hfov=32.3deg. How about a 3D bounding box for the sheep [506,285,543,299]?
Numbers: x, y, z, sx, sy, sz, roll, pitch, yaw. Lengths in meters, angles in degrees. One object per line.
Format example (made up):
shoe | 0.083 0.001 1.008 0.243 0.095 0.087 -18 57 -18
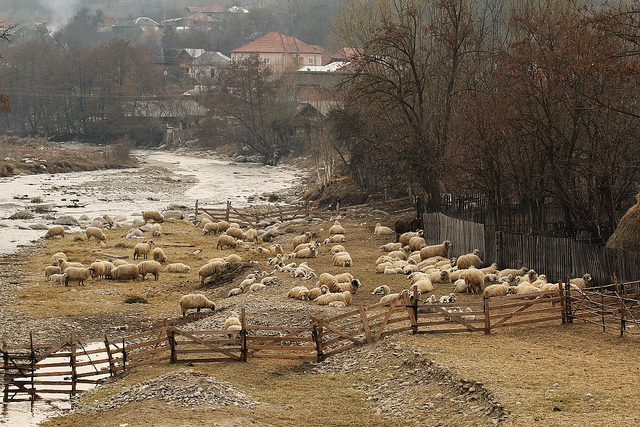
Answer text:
sheep | 11.671 4.435 63.451 1.977 0.918 0.700 5 -7 21

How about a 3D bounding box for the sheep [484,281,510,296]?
sheep | 10.350 4.349 64.556 1.359 0.785 0.763 -8 14 -15

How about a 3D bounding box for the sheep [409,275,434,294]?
sheep | 6.054 4.229 65.710 1.430 0.688 0.726 -26 21 -29

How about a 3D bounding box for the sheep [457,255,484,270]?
sheep | 9.350 3.048 69.482 1.499 0.759 0.727 -10 17 -30

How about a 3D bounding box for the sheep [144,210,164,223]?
sheep | -13.318 0.278 88.762 1.452 1.118 1.006 -11 12 -12

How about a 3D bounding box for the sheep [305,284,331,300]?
sheep | -0.196 4.564 65.387 1.604 0.841 0.666 -13 -27 13

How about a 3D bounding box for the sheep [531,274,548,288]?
sheep | 12.694 3.908 64.619 0.445 0.689 1.353 13 17 31

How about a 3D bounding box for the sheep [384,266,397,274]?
sheep | 4.359 3.567 69.390 0.702 0.496 0.332 6 7 39

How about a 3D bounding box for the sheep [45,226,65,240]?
sheep | -20.004 1.444 83.780 1.481 0.924 0.903 -15 13 -29

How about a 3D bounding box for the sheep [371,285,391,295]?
sheep | 3.646 4.516 65.622 0.699 0.340 0.592 -9 -6 16

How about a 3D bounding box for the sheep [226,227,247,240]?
sheep | -6.288 1.532 83.565 1.569 1.003 0.886 -16 14 -35

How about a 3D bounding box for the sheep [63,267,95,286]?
sheep | -15.535 3.942 71.099 1.316 1.184 1.565 -5 12 15

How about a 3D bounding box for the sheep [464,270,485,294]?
sheep | 8.984 3.972 65.090 1.127 1.335 0.550 -7 12 6

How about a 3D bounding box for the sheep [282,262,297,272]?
sheep | -1.869 3.359 70.262 0.964 0.469 0.369 -30 11 18

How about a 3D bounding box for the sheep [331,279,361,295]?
sheep | 1.535 4.420 65.770 1.784 0.901 0.939 -11 12 -13

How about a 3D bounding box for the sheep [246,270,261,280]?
sheep | -4.211 3.857 69.648 0.910 0.412 1.062 -9 11 -4

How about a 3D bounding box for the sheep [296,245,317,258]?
sheep | -0.873 2.612 74.449 1.268 0.580 0.617 -6 -4 23

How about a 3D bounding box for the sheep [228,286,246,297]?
sheep | -5.141 4.826 68.561 1.061 0.495 0.425 -14 11 -3

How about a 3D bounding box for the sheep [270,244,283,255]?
sheep | -3.046 2.495 76.336 0.890 0.590 0.549 -7 12 7

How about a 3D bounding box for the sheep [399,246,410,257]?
sheep | 5.734 2.406 75.364 0.319 0.534 1.079 -2 -18 25

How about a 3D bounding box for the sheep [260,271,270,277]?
sheep | -3.517 3.770 70.195 0.621 0.261 0.701 -10 11 -10

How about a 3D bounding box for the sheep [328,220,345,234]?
sheep | 1.227 1.053 84.393 0.841 0.695 1.453 0 12 0

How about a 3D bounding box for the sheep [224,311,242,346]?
sheep | -4.895 6.320 62.305 0.858 1.208 1.960 0 7 -5

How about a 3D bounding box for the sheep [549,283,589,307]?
sheep | 13.422 4.378 62.115 2.918 1.397 0.819 5 -3 0

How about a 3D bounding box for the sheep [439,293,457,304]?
sheep | 7.222 4.855 63.100 0.776 0.373 0.456 -5 0 10

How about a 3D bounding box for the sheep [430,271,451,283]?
sheep | 7.313 3.850 67.212 1.107 0.451 0.568 -1 -5 16

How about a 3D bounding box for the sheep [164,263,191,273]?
sheep | -9.537 3.687 74.655 1.385 0.701 0.695 -1 5 -11

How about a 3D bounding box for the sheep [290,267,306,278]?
sheep | -1.407 3.703 68.880 1.090 0.508 0.488 -1 14 30

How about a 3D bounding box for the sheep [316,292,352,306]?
sheep | 0.817 4.976 64.591 1.957 0.728 0.747 -2 -7 4

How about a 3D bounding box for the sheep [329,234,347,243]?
sheep | 1.230 1.763 79.284 0.915 0.448 0.504 -2 6 -10

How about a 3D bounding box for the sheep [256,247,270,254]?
sheep | -3.918 2.601 77.658 0.543 0.430 1.275 -16 14 -35

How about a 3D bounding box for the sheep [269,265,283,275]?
sheep | -2.767 3.503 70.225 0.731 0.425 0.377 -9 12 -3

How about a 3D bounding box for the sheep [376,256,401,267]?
sheep | 4.241 2.983 71.339 1.675 0.790 0.541 -13 -6 -4
